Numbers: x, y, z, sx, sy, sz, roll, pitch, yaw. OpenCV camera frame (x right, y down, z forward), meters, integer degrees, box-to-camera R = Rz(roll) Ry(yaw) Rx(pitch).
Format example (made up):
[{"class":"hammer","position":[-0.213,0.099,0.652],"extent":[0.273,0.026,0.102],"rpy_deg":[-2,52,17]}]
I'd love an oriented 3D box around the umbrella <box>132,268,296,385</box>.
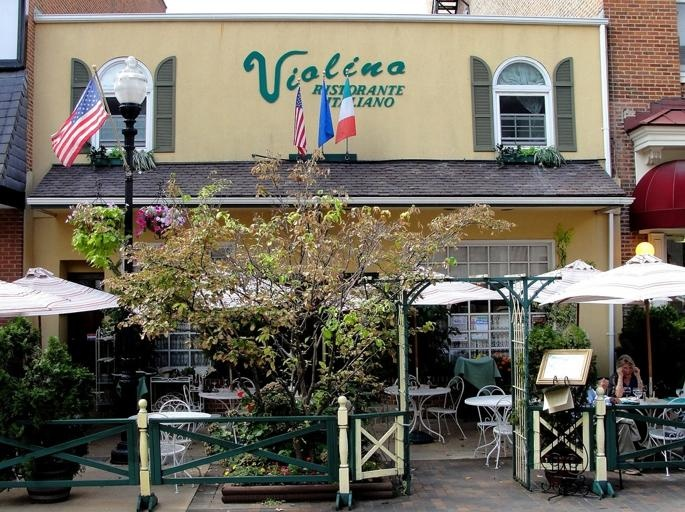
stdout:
[{"class":"umbrella","position":[-2.287,1.526,22.812],"extent":[2.261,1.449,2.367],"rpy_deg":[0,6,-2]}]

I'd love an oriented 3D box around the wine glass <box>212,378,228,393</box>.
[{"class":"wine glass","position":[-2.630,2.747,26.645],"extent":[0.257,0.299,0.272],"rpy_deg":[-2,-6,13]}]

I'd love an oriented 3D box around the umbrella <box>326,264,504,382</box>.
[{"class":"umbrella","position":[2.430,1.606,26.661],"extent":[2.607,1.897,2.448],"rpy_deg":[-1,-6,17]}]

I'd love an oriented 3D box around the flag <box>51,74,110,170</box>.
[{"class":"flag","position":[-5.209,-2.704,24.983],"extent":[1.136,1.736,0.475],"rpy_deg":[-3,-6,30]}]

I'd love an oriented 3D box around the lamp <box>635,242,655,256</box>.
[{"class":"lamp","position":[6.423,-0.137,26.601],"extent":[0.257,0.322,0.269],"rpy_deg":[0,3,10]}]

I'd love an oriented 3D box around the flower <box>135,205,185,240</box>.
[{"class":"flower","position":[-3.655,-0.712,24.482],"extent":[0.808,0.619,0.829],"rpy_deg":[1,-4,-13]}]

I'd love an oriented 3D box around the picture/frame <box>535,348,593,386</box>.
[{"class":"picture/frame","position":[3.920,1.974,22.265],"extent":[0.963,0.641,0.428],"rpy_deg":[-1,-5,11]}]

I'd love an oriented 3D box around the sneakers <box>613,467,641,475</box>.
[{"class":"sneakers","position":[5.224,3.964,23.061],"extent":[0.477,0.187,0.183],"rpy_deg":[-7,-6,23]}]

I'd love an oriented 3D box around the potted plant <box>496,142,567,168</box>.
[{"class":"potted plant","position":[4.094,-2.198,27.882],"extent":[0.956,0.420,0.730],"rpy_deg":[0,9,1]}]

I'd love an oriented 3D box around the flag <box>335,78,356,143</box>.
[{"class":"flag","position":[0.060,-3.213,27.294],"extent":[0.442,1.455,0.812],"rpy_deg":[0,-5,-1]}]

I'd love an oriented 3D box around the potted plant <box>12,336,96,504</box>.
[{"class":"potted plant","position":[-5.126,2.910,22.296],"extent":[1.217,2.878,0.706],"rpy_deg":[1,-5,-13]}]
